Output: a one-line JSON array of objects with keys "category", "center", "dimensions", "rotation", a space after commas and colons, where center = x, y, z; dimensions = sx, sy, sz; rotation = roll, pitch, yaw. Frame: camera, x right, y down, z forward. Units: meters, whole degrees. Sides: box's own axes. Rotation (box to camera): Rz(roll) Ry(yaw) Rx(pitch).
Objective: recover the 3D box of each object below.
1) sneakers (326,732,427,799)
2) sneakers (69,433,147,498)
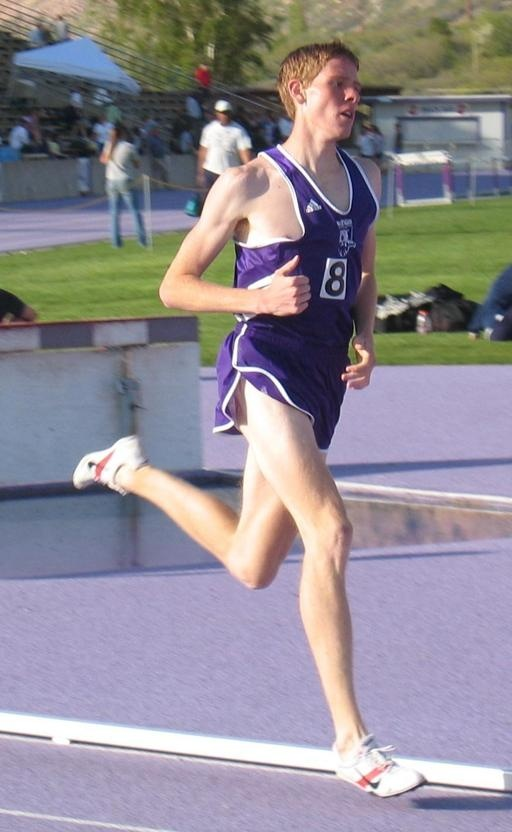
[{"category": "sneakers", "center": [0.208, 0.611, 1.422], "dimensions": [0.068, 0.079, 0.188], "rotation": [-7, -5, -39]}, {"category": "sneakers", "center": [-0.385, 0.164, 2.276], "dimensions": [0.157, 0.118, 0.329], "rotation": [-41, 9, -26]}]
